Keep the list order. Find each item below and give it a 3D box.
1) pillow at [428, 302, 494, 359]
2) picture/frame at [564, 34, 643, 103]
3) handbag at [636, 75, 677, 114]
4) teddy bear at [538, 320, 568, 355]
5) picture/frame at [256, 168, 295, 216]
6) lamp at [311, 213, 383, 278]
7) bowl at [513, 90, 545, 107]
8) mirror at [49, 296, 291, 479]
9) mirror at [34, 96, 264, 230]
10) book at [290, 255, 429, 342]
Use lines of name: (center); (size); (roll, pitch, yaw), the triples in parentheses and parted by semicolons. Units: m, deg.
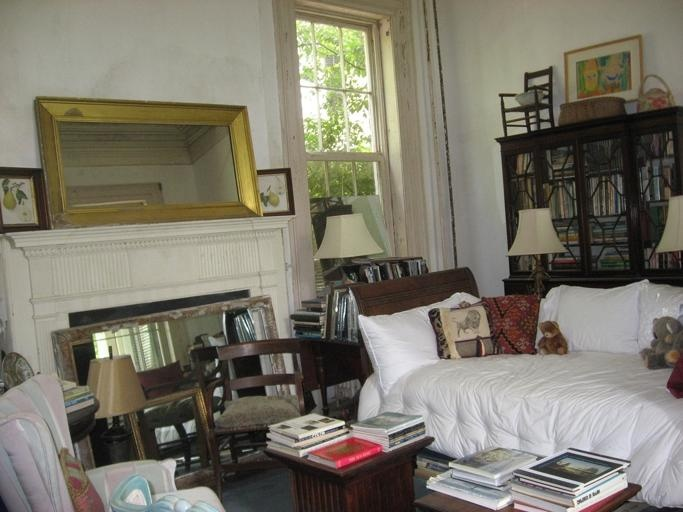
pillow: (0.880, 0.532, 3.680); (0.388, 0.377, 0.127); (-8, -16, -17)
picture/frame: (2.570, -1.813, 5.000); (0.842, 0.614, 0.057); (-3, -6, 37)
handbag: (2.803, -1.462, 4.624); (0.294, 0.383, 0.471); (-5, 4, 37)
teddy bear: (1.475, 0.588, 3.615); (0.196, 0.259, 0.169); (-6, -6, 12)
picture/frame: (-0.574, -0.534, 4.401); (0.369, 0.369, 0.027); (-16, 4, -40)
lamp: (0.045, -0.093, 4.250); (0.420, 0.232, 0.420); (-10, 6, 5)
bowl: (1.929, -1.590, 5.241); (0.215, 0.091, 0.201); (-1, -1, 0)
mirror: (-1.292, 0.827, 3.690); (1.706, 1.079, 0.419); (-6, -6, -38)
mirror: (-1.472, -0.697, 3.806); (1.282, 0.916, 0.134); (-9, 4, -30)
book: (0.137, 0.282, 4.295); (0.938, 0.337, 0.688); (-4, 5, -44)
